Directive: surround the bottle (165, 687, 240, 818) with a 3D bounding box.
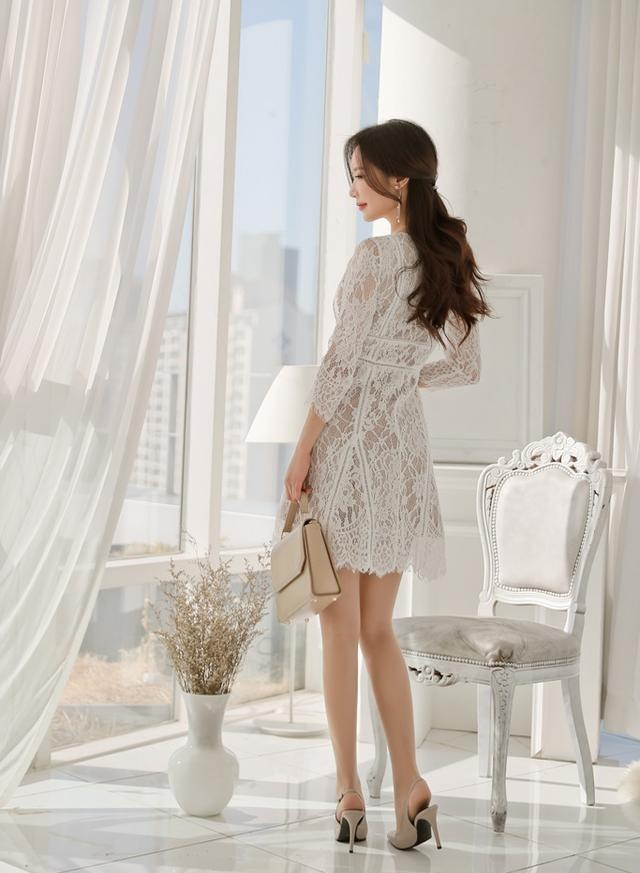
[{"bbox_3d":[-0.297,0.810,2.192,0.178,0.311,0.178,0,-3,0],"label":"bottle"}]

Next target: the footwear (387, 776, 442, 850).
[{"bbox_3d":[0.206,0.881,1.984,0.144,0.162,0.070,-13,-7,43],"label":"footwear"}]

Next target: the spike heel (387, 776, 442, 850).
[{"bbox_3d":[0.204,0.871,1.978,0.150,0.172,0.075,-5,9,43],"label":"spike heel"}]

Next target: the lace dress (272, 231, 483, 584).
[{"bbox_3d":[0.165,-0.065,2.056,0.424,0.838,0.182,3,-1,-38],"label":"lace dress"}]

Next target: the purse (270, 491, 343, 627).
[{"bbox_3d":[-0.025,0.274,1.926,0.097,0.310,0.227,9,-36,-27],"label":"purse"}]
